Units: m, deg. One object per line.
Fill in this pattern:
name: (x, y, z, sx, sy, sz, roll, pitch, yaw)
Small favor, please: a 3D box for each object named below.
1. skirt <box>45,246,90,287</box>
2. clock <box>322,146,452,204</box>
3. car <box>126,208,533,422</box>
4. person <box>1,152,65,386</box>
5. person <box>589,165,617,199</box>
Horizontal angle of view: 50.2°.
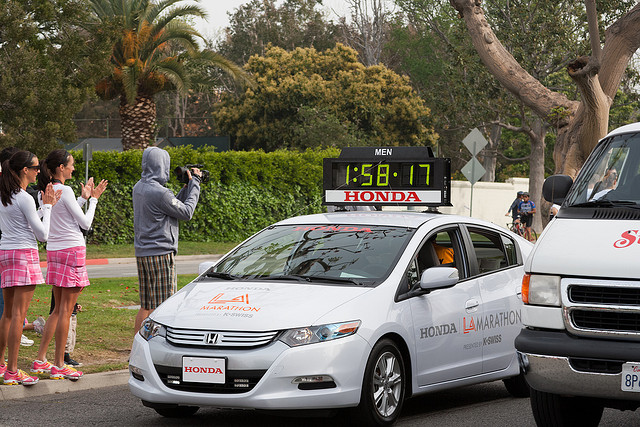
skirt: (-3.195, 0.635, 8.589, 0.649, 0.512, 0.405, 5, 5, 34)
clock: (0.922, -0.530, 9.526, 1.780, 0.792, 0.267, 1, 2, 24)
car: (0.461, 1.127, 7.596, 2.428, 1.493, 3.826, -5, -8, 37)
person: (-3.532, 0.655, 8.258, 0.641, 2.793, 0.700, -1, 4, -23)
person: (2.825, -0.342, 6.745, 0.311, 0.131, 0.771, 0, 28, 21)
